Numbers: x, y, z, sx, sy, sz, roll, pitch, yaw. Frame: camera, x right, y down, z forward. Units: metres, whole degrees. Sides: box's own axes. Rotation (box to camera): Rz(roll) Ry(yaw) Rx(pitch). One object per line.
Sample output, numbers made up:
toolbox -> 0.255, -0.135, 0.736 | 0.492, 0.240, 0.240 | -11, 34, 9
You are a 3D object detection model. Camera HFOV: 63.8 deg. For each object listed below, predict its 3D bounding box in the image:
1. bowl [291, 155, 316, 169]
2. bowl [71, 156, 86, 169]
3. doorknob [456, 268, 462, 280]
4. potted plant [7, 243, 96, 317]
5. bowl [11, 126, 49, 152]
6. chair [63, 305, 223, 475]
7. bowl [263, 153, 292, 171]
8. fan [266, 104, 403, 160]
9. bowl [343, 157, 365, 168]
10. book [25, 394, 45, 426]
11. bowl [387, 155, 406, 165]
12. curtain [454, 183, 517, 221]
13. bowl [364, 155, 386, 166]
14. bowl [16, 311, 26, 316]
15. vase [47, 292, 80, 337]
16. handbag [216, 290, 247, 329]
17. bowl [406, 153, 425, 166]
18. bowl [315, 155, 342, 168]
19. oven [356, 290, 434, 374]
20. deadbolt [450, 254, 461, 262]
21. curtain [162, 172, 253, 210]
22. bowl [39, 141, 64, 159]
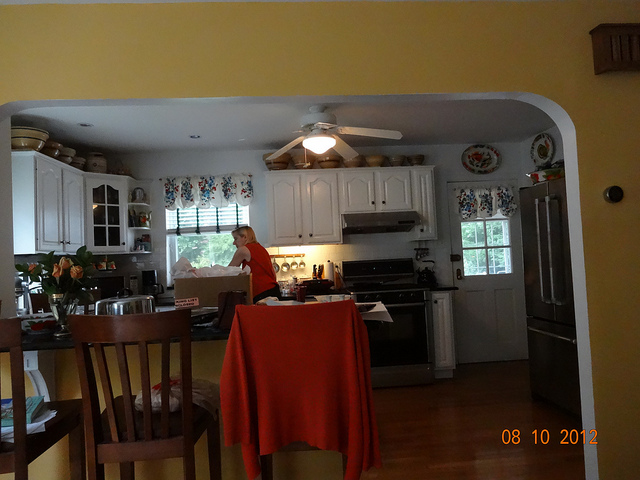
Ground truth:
bowl -> -0.189, -0.856, 5.612 | 0.174, 0.086, 0.176 | 0, -6, 0
bowl -> -2.411, -0.776, 5.145 | 0.107, 0.092, 0.107 | 4, 8, -1
doorknob -> 1.600, 0.384, 5.915 | 0.049, 0.117, 0.024 | -3, 0, -15
potted plant -> -1.564, 0.314, 3.160 | 0.555, 0.447, 0.467 | -16, -15, 33
bowl -> -2.445, -0.857, 4.363 | 0.222, 0.116, 0.225 | -1, -6, 0
chair -> -0.871, 0.816, 2.616 | 0.677, 0.899, 0.410 | -3, 1, -11
bowl -> -0.434, -0.793, 5.430 | 0.278, 0.146, 0.281 | -1, -5, 0
fan -> 0.088, -0.901, 4.120 | 0.916, 0.434, 0.494 | -3, 1, 15
bowl -> 0.391, -0.865, 5.712 | 0.252, 0.111, 0.198 | -3, 1, -8
book -> -1.448, 0.849, 2.596 | 0.112, 0.028, 0.115 | -22, 24, 39
bowl -> 0.855, -0.911, 5.775 | 0.194, 0.107, 0.209 | -3, 1, 0
curtain -> 1.888, -0.445, 5.945 | 0.657, 0.414, 0.094 | -3, -13, 5
bowl -> 0.608, -0.888, 5.746 | 0.211, 0.113, 0.194 | -3, 1, 0
bowl -> -2.505, 0.609, 4.313 | 0.094, 0.024, 0.103 | 1, 1, 0
vase -> -1.586, 0.450, 3.167 | 0.180, 0.276, 0.193 | -3, -1, -23
handbag -> -0.494, 0.403, 3.053 | 0.210, 0.296, 0.159 | 0, -4, -5
bowl -> 1.062, -0.901, 5.779 | 0.152, 0.088, 0.153 | 0, -4, 0
bowl -> 0.102, -0.837, 5.627 | 0.170, 0.078, 0.172 | 0, -3, 0
oven -> 0.714, 0.944, 5.475 | 0.799, 0.938, 0.621 | -3, -1, -2
deadbolt -> 1.558, 0.199, 5.924 | 0.129, 0.079, 0.032 | -3, 1, -13
curtain -> -1.263, -0.555, 5.740 | 1.002, 0.406, 0.102 | -3, 0, 1
bowl -> -2.449, -0.829, 4.688 | 0.109, 0.166, 0.206 | -3, 1, 10
